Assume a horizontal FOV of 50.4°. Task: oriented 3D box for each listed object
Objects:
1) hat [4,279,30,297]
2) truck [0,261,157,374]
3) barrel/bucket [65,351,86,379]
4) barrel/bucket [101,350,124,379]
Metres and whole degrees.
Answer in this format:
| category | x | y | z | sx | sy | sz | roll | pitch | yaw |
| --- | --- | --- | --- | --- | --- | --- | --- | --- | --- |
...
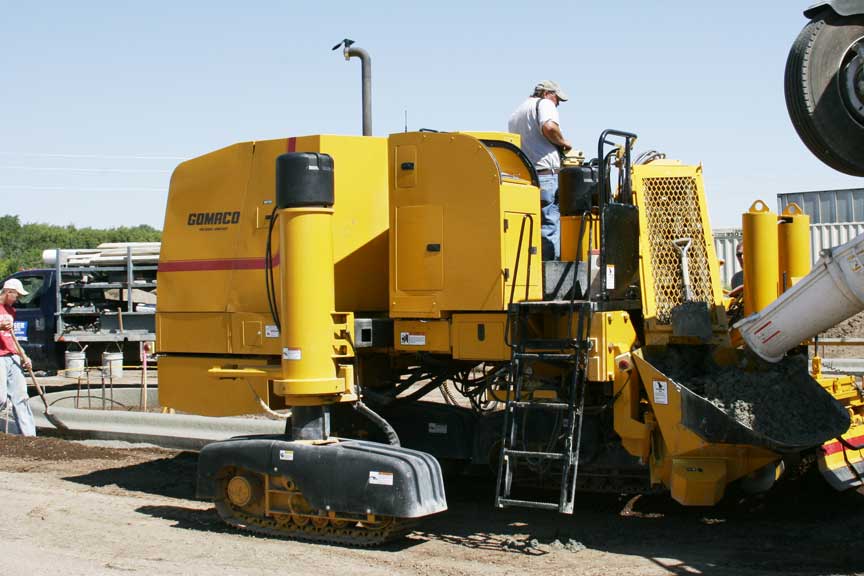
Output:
| category | x | y | z | sx | sy | sz | roll | pitch | yaw |
| --- | --- | --- | --- | --- | --- | --- | --- | --- | --- |
| hat | -7.322 | -0.013 | 16.194 | 0.500 | 0.273 | 0.317 | 7 | 0 | 3 |
| truck | -7.549 | 0.669 | 21.162 | 3.790 | 2.127 | 2.394 | 2 | -3 | -1 |
| barrel/bucket | -7.650 | 1.643 | 19.696 | 0.507 | 0.649 | 0.459 | 0 | -10 | -4 |
| barrel/bucket | -6.680 | 1.593 | 19.177 | 0.576 | 0.637 | 0.587 | -1 | -3 | 0 |
